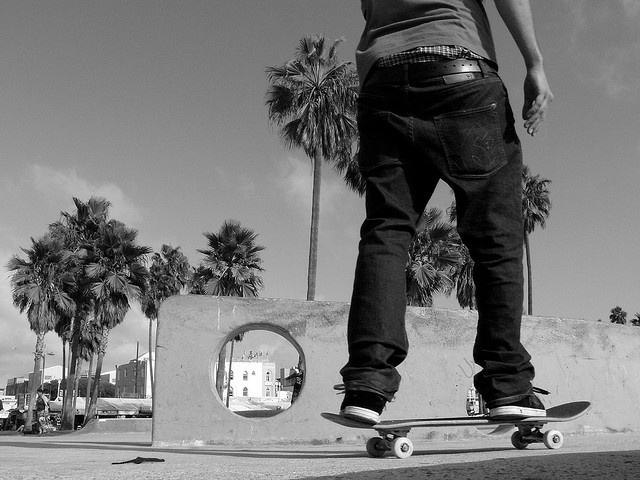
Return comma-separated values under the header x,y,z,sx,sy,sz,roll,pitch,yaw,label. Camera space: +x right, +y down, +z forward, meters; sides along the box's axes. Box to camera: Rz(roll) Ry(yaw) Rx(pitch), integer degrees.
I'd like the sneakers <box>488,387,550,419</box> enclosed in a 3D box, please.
x,y,z,sx,sy,sz,roll,pitch,yaw,label
0.945,0.766,2.501,0.329,0.150,0.120,11,-17,-40,sneakers

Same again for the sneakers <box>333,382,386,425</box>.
x,y,z,sx,sy,sz,roll,pitch,yaw,label
0.171,0.740,2.369,0.180,0.147,0.155,0,-22,5,sneakers
